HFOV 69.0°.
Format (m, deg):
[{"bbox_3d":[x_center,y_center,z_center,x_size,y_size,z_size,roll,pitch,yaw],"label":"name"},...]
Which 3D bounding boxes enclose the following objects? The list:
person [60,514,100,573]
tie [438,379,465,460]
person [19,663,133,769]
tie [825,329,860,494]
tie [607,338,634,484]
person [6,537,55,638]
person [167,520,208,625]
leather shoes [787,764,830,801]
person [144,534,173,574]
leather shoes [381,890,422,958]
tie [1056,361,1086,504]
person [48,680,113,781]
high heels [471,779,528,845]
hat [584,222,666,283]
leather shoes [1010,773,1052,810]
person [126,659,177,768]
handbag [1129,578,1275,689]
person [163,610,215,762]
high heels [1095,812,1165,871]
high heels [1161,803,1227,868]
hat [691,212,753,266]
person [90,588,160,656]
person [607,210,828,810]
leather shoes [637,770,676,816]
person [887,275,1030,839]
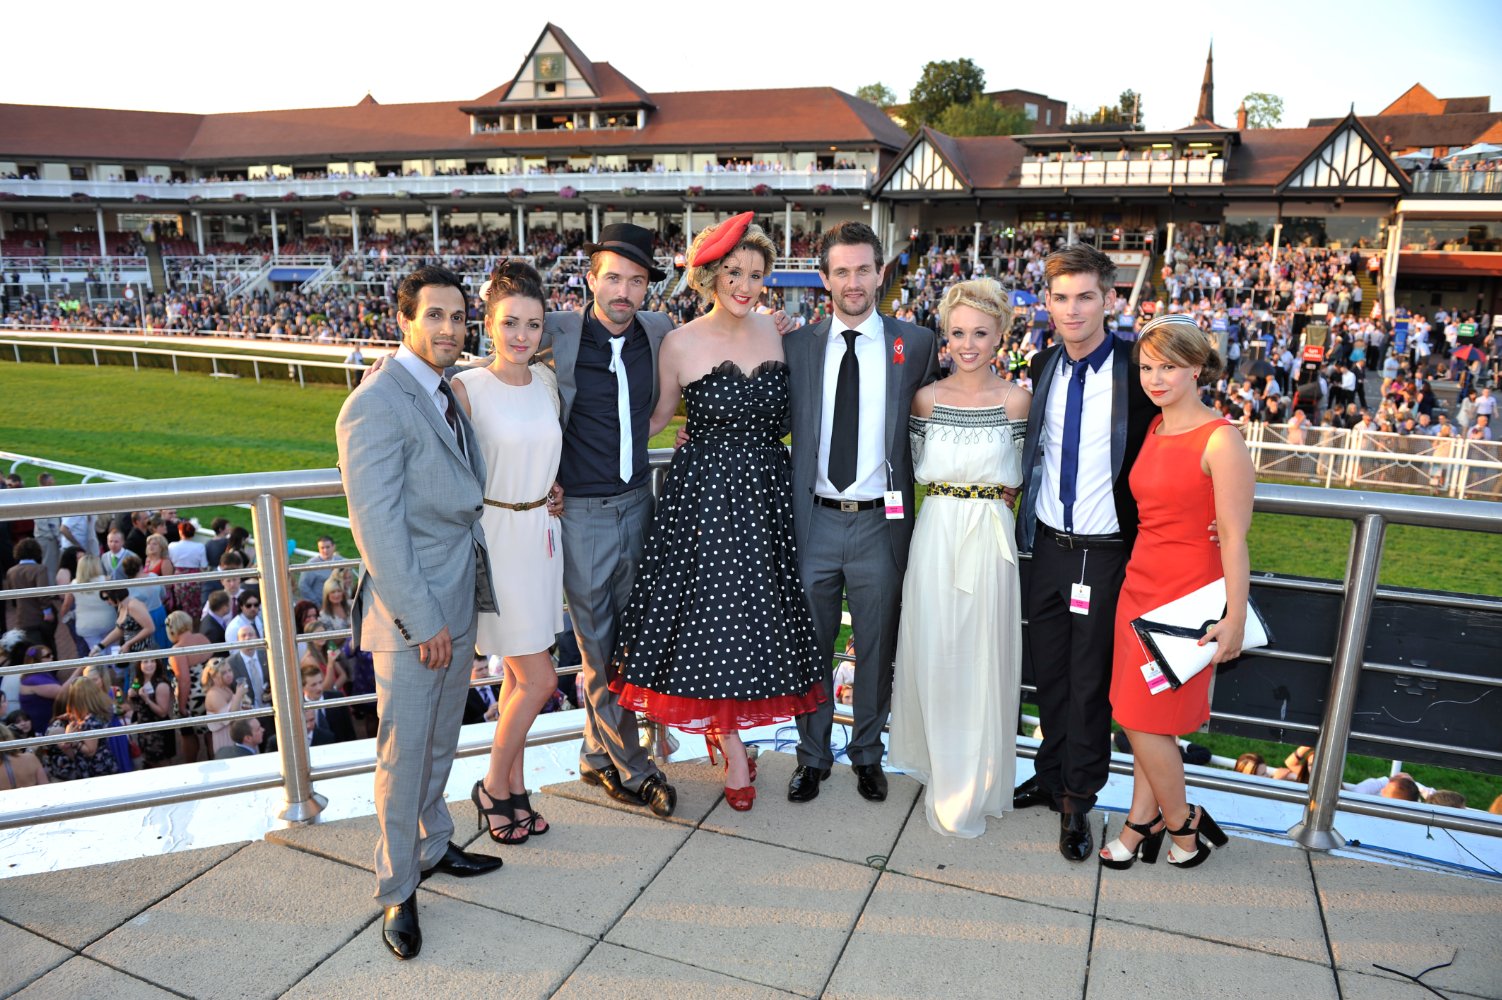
[{"bbox_3d":[-8.085,0.534,13.078,0.416,0.362,1.192,-19,19,-35],"label":"person"},{"bbox_3d":[-1.423,-0.388,5.169,0.065,0.501,0.065,-5,-6,3],"label":"tie"},{"bbox_3d":[-4.997,1.790,8.166,0.473,1.172,0.469,3,29,-16],"label":"person"},{"bbox_3d":[0.494,-0.475,5.758,0.134,0.817,0.224,3,11,31],"label":"tie"},{"bbox_3d":[-0.701,-0.501,5.663,0.161,0.741,0.103,-2,-1,-33],"label":"tie"},{"bbox_3d":[-7.361,0.912,11.047,0.450,0.985,1.212,-10,12,-34],"label":"person"},{"bbox_3d":[-6.819,0.914,13.166,0.460,1.339,0.368,-1,14,-27],"label":"person"},{"bbox_3d":[0.288,1.496,5.793,0.097,0.115,0.259,1,0,25],"label":"leather shoes"},{"bbox_3d":[-6.545,0.572,11.963,0.246,0.414,0.725,-9,12,-29],"label":"person"},{"bbox_3d":[-1.555,1.892,4.842,0.103,0.128,0.308,1,2,-18],"label":"leather shoes"},{"bbox_3d":[1.611,-0.333,5.498,0.087,0.907,0.076,7,-11,3],"label":"tie"},{"bbox_3d":[-4.892,1.661,7.942,0.446,0.680,0.827,-9,12,-32],"label":"person"},{"bbox_3d":[-1.269,1.549,5.530,0.168,0.163,0.365,3,15,-45],"label":"high heels"},{"bbox_3d":[-0.588,-1.295,5.696,0.321,0.156,0.397,20,1,15],"label":"hat"},{"bbox_3d":[1.515,1.539,5.765,0.299,0.132,0.105,7,-4,1],"label":"leather shoes"},{"bbox_3d":[-4.960,1.724,9.023,0.360,0.725,0.792,-9,12,-29],"label":"person"},{"bbox_3d":[2.199,0.562,5.251,0.211,0.694,0.547,38,-11,7],"label":"handbag"},{"bbox_3d":[-4.455,1.501,8.610,0.413,0.437,1.270,12,22,-35],"label":"person"},{"bbox_3d":[1.867,1.666,5.336,0.323,0.242,0.168,-1,3,0],"label":"high heels"},{"bbox_3d":[2.209,1.623,5.461,0.119,0.237,0.353,-19,-4,-13],"label":"high heels"},{"bbox_3d":[-0.165,-1.346,5.656,0.361,0.259,0.213,-3,10,2],"label":"hat"},{"bbox_3d":[-6.373,1.287,11.061,0.487,0.697,1.248,-9,12,-32],"label":"person"},{"bbox_3d":[-0.198,0.055,5.722,1.056,3.012,0.686,-5,10,-9],"label":"person"},{"bbox_3d":[-0.490,1.519,5.684,0.212,0.132,0.092,49,5,28],"label":"leather shoes"},{"bbox_3d":[1.037,0.255,5.683,0.648,2.734,0.856,5,13,39],"label":"person"}]
